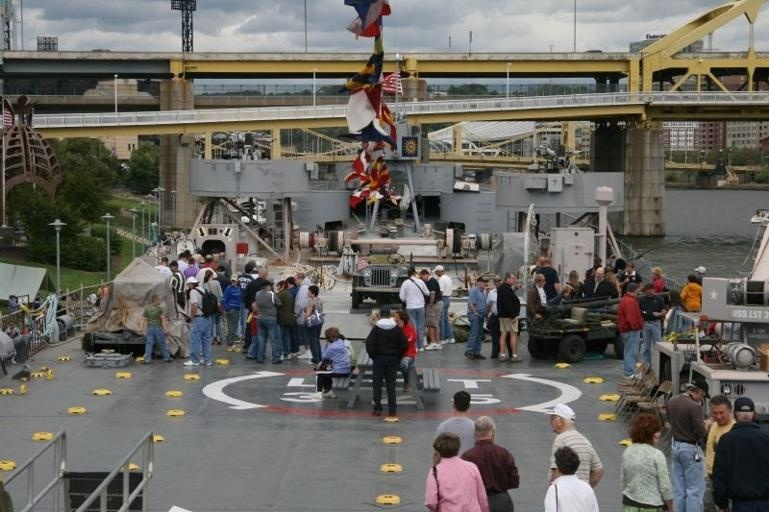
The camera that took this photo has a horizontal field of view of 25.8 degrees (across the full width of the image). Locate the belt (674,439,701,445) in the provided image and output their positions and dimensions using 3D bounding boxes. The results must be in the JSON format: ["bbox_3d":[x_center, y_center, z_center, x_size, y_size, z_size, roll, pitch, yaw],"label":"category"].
[{"bbox_3d":[10.938,6.733,60.572,0.997,0.233,0.263,0,1,-12],"label":"belt"}]

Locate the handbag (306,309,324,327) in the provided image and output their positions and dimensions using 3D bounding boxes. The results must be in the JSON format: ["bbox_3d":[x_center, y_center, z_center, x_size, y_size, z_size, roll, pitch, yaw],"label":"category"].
[{"bbox_3d":[-2.839,2.540,68.303,0.692,0.709,0.522,-6,-3,11],"label":"handbag"}]

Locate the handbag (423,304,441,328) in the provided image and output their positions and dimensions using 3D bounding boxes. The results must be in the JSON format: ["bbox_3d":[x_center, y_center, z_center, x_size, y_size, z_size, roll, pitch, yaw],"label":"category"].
[{"bbox_3d":[2.053,2.461,70.646,0.598,0.969,0.505,1,1,1],"label":"handbag"}]

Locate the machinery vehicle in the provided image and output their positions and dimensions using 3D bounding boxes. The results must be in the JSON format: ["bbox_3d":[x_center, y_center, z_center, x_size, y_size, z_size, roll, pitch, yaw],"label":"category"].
[{"bbox_3d":[8.602,2.959,70.241,5.325,2.597,2.890,-2,1,-20],"label":"machinery vehicle"}]

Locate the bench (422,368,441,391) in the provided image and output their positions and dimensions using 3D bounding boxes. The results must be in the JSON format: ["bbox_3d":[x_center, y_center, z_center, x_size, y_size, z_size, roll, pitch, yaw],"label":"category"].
[{"bbox_3d":[1.790,4.803,65.662,0.481,0.206,0.880,1,30,-2],"label":"bench"}]

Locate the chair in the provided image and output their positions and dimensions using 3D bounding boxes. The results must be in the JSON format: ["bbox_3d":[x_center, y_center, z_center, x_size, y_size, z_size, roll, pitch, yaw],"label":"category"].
[{"bbox_3d":[9.872,5.395,64.547,1.641,2.486,3.202,0,0,16],"label":"chair"}]

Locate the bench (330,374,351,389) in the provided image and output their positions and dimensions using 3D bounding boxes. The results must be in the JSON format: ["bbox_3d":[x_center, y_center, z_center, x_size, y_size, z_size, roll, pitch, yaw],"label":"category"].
[{"bbox_3d":[-1.699,4.872,65.560,0.672,0.544,0.543,0,1,-7],"label":"bench"}]
